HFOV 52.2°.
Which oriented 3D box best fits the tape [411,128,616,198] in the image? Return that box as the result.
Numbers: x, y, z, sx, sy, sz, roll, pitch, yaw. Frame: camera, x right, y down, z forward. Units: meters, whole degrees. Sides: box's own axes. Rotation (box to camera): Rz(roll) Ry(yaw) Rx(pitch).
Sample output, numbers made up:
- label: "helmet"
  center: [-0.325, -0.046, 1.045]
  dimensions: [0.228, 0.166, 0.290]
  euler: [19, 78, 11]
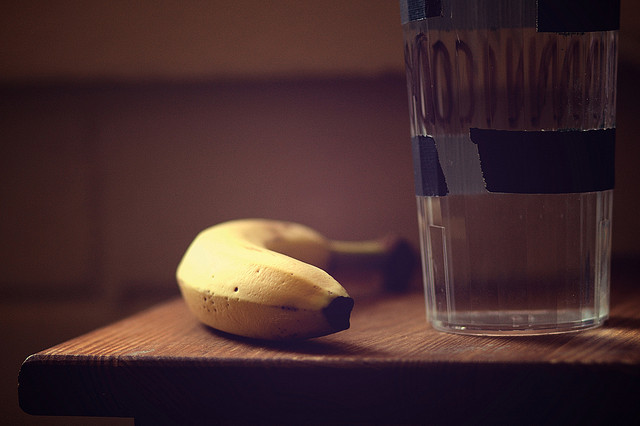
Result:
- label: "tape"
  center: [0.218, -0.057, 0.729]
  dimensions: [0.221, 0.083, 0.055]
  euler: [-4, 7, 10]

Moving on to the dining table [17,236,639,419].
- label: "dining table"
  center: [0.051, 0.118, 0.794]
  dimensions: [0.716, 0.190, 0.280]
  euler: [-5, 7, 5]
